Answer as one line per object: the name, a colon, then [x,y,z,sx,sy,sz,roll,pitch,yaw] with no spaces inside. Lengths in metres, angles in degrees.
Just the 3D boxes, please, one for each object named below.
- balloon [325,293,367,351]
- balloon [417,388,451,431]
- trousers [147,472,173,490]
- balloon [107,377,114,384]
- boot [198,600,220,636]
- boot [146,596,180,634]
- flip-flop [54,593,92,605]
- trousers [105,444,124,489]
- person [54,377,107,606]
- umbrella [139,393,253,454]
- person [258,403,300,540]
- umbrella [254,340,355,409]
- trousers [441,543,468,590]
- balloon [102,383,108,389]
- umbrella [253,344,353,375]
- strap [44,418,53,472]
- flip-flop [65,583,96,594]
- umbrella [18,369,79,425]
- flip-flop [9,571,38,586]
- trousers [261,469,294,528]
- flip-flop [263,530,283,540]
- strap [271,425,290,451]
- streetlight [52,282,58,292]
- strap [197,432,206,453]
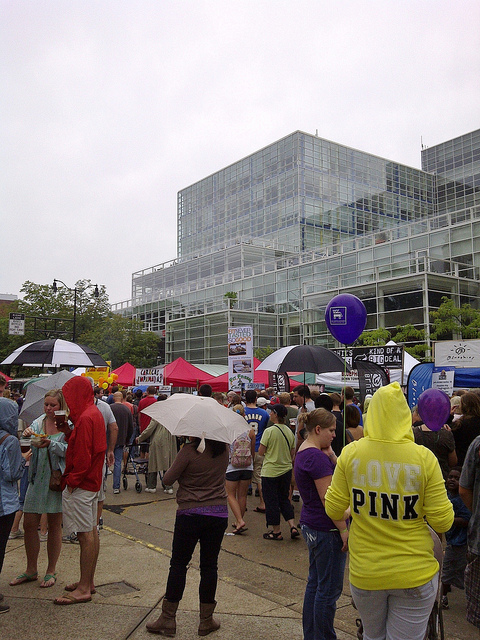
balloon: [1.246,0.006,6.934,0.405,0.694,0.550,-4,-10,37]
balloon: [1.966,0.837,5.952,0.391,0.530,0.184,-5,-49,8]
trousers: [-1.486,2.911,10.663,0.375,0.332,0.999,5,-8,-19]
balloon: [-3.805,1.759,17.259,0.178,0.149,0.244,4,-8,-13]
boot: [-0.241,2.206,4.335,0.118,0.219,0.229,-2,-6,17]
boot: [-0.569,2.149,4.293,0.217,0.263,0.143,4,-8,-10]
flip-flop: [-1.361,2.277,4.783,0.206,0.055,0.092,16,-17,-22]
trousers: [-2.177,2.617,10.459,0.156,0.829,0.589,4,-8,-9]
person: [-1.380,1.425,5.088,0.439,1.846,0.730,4,-8,-13]
umbrella: [-0.291,0.762,4.603,0.638,0.260,0.718,10,10,11]
person: [0.526,1.935,7.636,0.538,1.662,0.582,2,-8,6]
umbrella: [1.161,0.997,11.038,1.180,0.886,1.212,0,-1,9]
trousers: [1.853,2.129,5.080,0.189,0.394,0.226,0,-8,21]
balloon: [-3.658,1.781,15.990,0.124,0.144,0.127,-29,-38,36]
umbrella: [1.485,0.885,13.144,1.625,0.560,1.596,3,-11,-8]
strap: [-1.701,1.126,5.219,0.050,0.477,0.037,1,14,37]
flip-flop: [-1.344,2.297,5.018,0.266,0.087,0.099,11,-18,-1]
umbrella: [-2.633,1.033,7.902,0.589,0.727,0.434,5,-8,-20]
flip-flop: [-1.928,2.293,5.213,0.194,0.074,0.064,9,-17,-34]
trousers: [0.505,2.216,7.539,0.410,0.960,0.357,-1,14,10]
flip-flop: [0.392,2.689,7.367,0.281,0.082,0.171,-5,-10,42]
strap: [0.538,1.504,7.556,0.219,0.298,0.133,3,-8,-2]
streetlight: [-11.592,-2.104,36.671,0.196,0.600,0.918,4,-8,-13]
strap: [-0.286,0.913,4.383,0.051,0.154,0.090,3,-8,-3]
